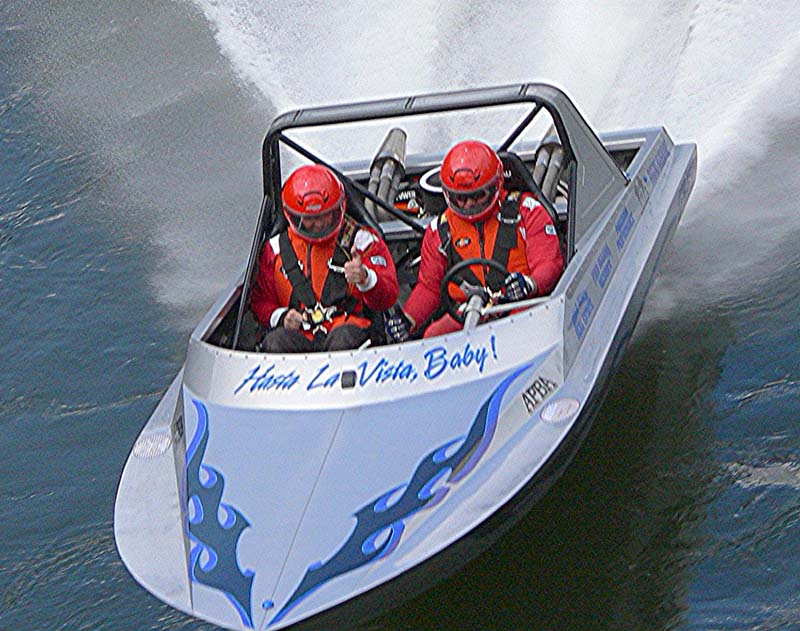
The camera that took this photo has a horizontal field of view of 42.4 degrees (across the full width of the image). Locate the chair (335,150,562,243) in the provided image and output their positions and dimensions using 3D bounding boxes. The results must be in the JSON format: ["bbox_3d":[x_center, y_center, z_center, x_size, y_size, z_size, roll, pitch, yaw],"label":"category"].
[{"bbox_3d":[0.397,-0.802,6.972,1.262,0.614,0.778,-3,27,6],"label":"chair"}]

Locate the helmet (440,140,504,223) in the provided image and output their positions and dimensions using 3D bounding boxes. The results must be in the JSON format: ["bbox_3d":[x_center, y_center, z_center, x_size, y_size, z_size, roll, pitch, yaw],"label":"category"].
[{"bbox_3d":[0.431,-0.810,5.963,0.305,0.429,0.341,-1,-29,15],"label":"helmet"}]

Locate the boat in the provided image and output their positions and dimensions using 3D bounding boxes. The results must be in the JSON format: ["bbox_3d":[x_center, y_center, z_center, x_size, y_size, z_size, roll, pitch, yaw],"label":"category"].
[{"bbox_3d":[0.176,-0.040,5.837,2.057,1.406,3.774,-3,40,26],"label":"boat"}]

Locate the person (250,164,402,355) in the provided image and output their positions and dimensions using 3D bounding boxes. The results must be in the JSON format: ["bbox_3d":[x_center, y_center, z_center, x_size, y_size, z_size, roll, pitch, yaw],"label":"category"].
[{"bbox_3d":[-0.463,-0.361,5.947,0.831,1.180,1.028,-7,16,4],"label":"person"}]

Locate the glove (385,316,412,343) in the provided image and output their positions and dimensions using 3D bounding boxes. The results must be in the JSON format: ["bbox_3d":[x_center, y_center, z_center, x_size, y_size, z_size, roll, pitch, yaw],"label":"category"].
[{"bbox_3d":[-0.024,0.074,5.738,0.112,0.167,0.053,-11,21,-21],"label":"glove"}]
